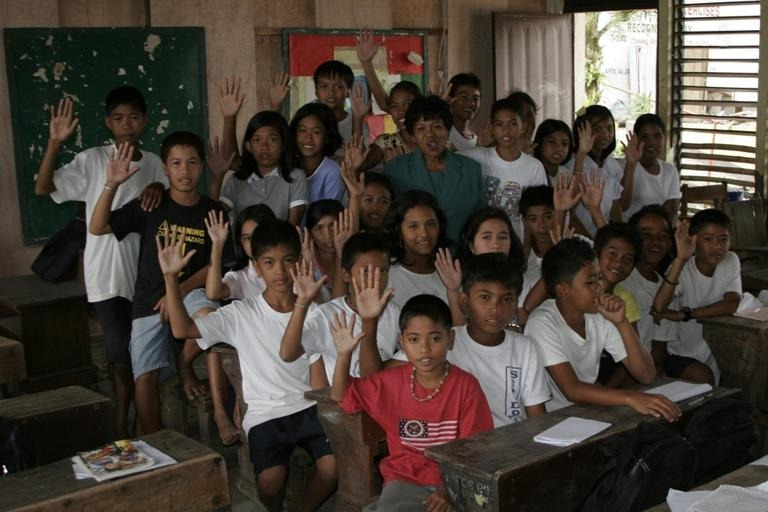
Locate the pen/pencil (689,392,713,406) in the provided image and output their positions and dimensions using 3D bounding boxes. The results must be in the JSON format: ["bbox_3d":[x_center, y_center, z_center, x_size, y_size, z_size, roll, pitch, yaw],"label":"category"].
[{"bbox_3d":[1.436,0.652,2.735,0.118,0.017,0.022,-16,29,-42],"label":"pen/pencil"}]

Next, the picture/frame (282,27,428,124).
[{"bbox_3d":[-0.324,-1.582,5.231,1.478,1.051,0.154,-2,-1,-18],"label":"picture/frame"}]

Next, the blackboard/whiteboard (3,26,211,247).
[{"bbox_3d":[-2.142,-0.893,4.433,1.830,1.816,0.128,-4,11,-27],"label":"blackboard/whiteboard"}]

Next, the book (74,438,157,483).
[{"bbox_3d":[-1.110,0.839,2.447,0.146,0.046,0.161,-8,18,-36],"label":"book"}]
